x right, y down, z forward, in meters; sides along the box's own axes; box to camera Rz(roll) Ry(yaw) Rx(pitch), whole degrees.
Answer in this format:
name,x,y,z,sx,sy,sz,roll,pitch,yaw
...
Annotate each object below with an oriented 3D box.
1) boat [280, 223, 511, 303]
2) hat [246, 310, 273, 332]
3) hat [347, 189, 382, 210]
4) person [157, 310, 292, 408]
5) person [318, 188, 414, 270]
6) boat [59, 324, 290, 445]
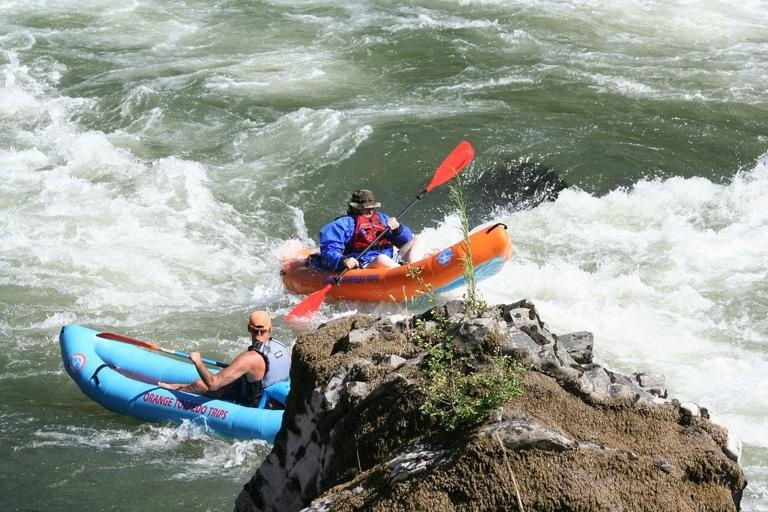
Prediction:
name,x,y,z,sx,sy,sz,roll,pitch,yaw
boat,0.262,0.250,17.809,3.306,0.872,1.490,-6,14,27
hat,-1.767,0.914,15.552,0.304,0.294,0.278,4,38,2
hat,-0.405,-0.966,18.331,0.475,0.211,0.443,-17,28,-41
person,-2.297,1.505,15.853,1.737,0.881,1.163,8,8,19
person,-0.351,-0.408,18.217,1.692,0.873,1.232,8,14,39
boat,-3.208,1.916,15.943,3.456,0.752,1.397,15,34,3
